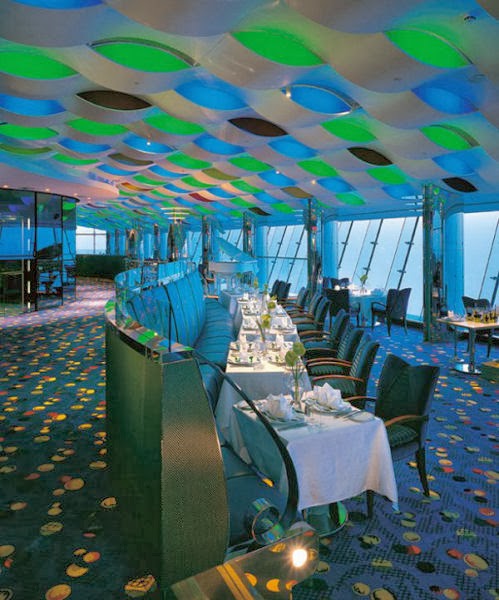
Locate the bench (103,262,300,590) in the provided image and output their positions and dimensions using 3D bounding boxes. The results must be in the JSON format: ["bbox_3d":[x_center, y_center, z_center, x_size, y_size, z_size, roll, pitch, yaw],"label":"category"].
[{"bbox_3d":[-0.290,0.689,2.651,0.756,0.946,2.160,-5,12,-19],"label":"bench"}]

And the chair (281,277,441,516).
[{"bbox_3d":[1.071,0.943,3.726,0.978,1.379,0.943,7,0,-21],"label":"chair"}]

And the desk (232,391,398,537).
[{"bbox_3d":[0.403,1.098,2.994,1.349,0.698,1.281,0,-15,15],"label":"desk"}]

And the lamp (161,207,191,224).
[{"bbox_3d":[-3.621,-4.439,22.011,1.297,0.763,1.295,15,22,39],"label":"lamp"}]
